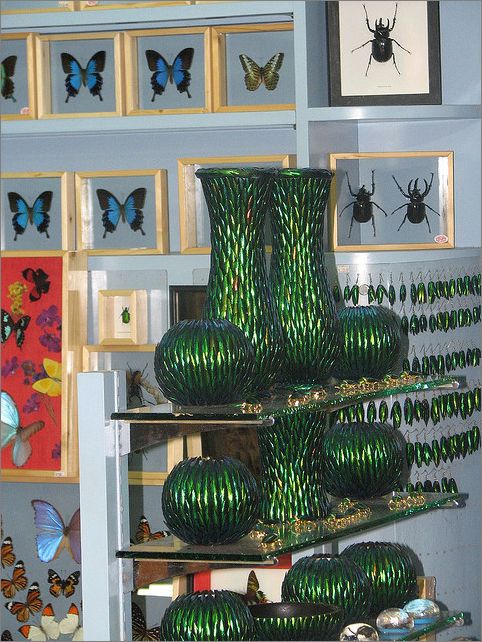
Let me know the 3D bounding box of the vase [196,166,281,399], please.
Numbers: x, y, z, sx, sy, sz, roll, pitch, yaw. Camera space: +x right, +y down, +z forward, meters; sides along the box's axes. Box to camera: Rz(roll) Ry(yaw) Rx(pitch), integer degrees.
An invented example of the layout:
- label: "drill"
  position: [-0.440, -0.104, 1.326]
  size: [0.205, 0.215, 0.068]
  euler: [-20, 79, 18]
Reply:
- label: "vase"
  position: [-0.001, -0.086, 2.995]
  size: [0.162, 0.454, 0.073]
  euler: [-4, 1, 0]

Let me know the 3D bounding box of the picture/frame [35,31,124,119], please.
- label: "picture/frame"
  position: [-0.434, -0.680, 3.975]
  size: [0.171, 0.210, 0.017]
  euler: [-1, -1, 10]

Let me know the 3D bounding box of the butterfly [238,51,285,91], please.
- label: "butterfly"
  position: [0.057, -0.672, 3.888]
  size: [0.118, 0.102, 0.027]
  euler: [-6, 1, 1]

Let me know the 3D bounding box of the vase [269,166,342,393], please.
- label: "vase"
  position: [0.128, -0.087, 3.131]
  size: [0.137, 0.469, 0.164]
  euler: [-2, 3, 5]
